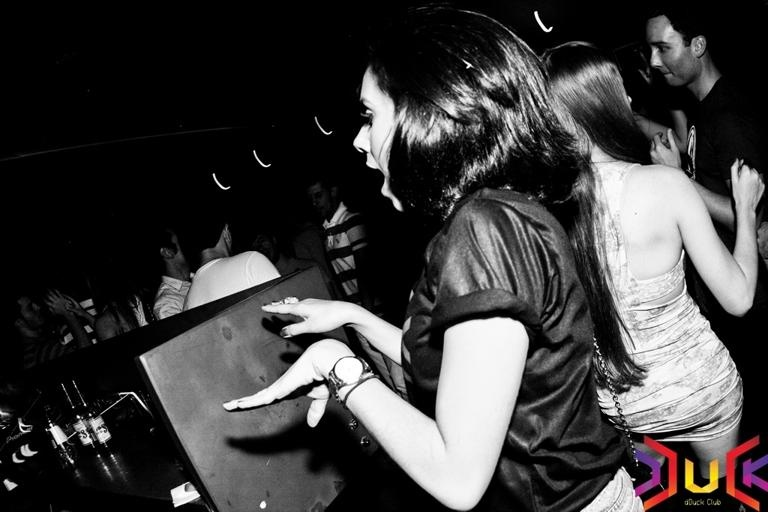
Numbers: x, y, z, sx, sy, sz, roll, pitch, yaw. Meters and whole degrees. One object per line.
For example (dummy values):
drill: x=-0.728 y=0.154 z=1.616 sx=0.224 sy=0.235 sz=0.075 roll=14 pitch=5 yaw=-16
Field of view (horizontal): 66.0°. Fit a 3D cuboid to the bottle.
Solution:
bottle: x=-1.847 y=1.044 z=3.647 sx=0.195 sy=0.553 sz=0.188 roll=-30 pitch=-25 yaw=-16
